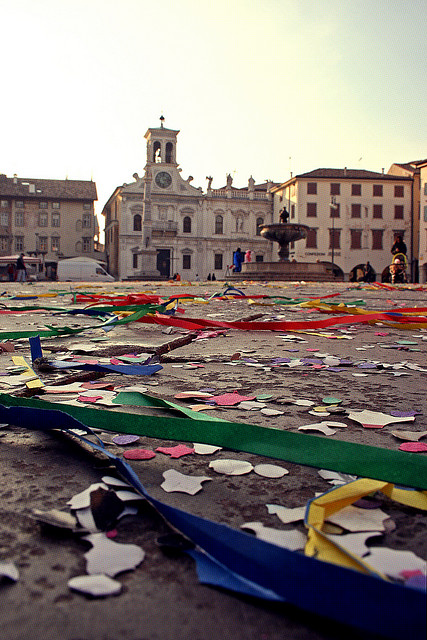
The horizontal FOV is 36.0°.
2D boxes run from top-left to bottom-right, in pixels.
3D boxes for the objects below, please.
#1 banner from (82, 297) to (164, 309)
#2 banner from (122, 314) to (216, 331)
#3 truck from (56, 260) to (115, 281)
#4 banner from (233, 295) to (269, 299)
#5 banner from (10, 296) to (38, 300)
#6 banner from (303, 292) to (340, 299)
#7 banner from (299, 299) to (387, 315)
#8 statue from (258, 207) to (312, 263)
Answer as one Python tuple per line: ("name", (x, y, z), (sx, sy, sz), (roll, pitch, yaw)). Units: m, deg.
("banner", (-0.786, -0.173, 5.832), (0.734, 0.094, 0.205), (-4, 2, -10))
("banner", (-0.274, 0.007, 3.851), (0.573, 0.059, 0.143), (6, -16, 20))
("truck", (-7.547, -3.012, 38.790), (3.379, 1.419, 1.352), (-1, 0, -12))
("banner", (0.500, -0.318, 8.697), (0.306, 0.056, 0.916), (2, 2, -14))
("banner", (-2.346, -0.292, 8.299), (0.205, 0.032, 0.836), (2, 2, -6))
("banner", (1.477, -0.328, 8.660), (0.338, 0.079, 1.756), (3, 2, 10))
("banner", (1.189, -0.135, 6.111), (0.511, 0.050, 0.150), (7, -9, 34))
("statue", (2.750, -3.274, 25.666), (2.193, 1.884, 1.975), (1, 1, 11))
